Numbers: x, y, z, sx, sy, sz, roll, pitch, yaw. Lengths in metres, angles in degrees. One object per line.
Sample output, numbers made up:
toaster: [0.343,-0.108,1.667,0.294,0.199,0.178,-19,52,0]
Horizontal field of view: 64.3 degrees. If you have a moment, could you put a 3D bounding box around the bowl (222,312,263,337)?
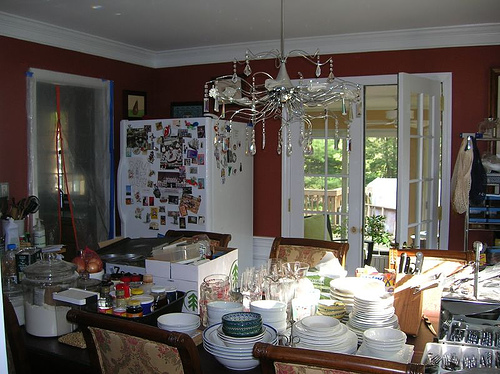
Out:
bowl: [0.010,0.667,1.888,0.246,0.115,0.280,-5,-17,14]

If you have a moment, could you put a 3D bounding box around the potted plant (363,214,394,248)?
potted plant: [2.161,0.782,6.632,0.340,0.609,0.941,-2,1,27]

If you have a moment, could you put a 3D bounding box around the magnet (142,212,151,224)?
magnet: [-1.070,0.332,4.158,0.068,0.141,0.097,-1,-3,35]

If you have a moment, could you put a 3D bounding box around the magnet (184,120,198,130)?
magnet: [-0.567,-0.597,3.903,0.161,0.070,0.050,-5,12,14]

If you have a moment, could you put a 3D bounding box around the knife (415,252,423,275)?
knife: [1.029,0.463,2.411,0.041,0.127,0.092,-1,1,33]

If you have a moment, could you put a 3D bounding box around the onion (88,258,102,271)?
onion: [-0.931,0.466,2.386,0.060,0.063,0.061,-1,-3,26]

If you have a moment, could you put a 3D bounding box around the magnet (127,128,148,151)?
magnet: [-1.179,-0.487,4.149,0.225,0.229,0.055,5,5,21]

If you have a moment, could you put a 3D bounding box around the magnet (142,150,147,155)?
magnet: [-1.095,-0.356,4.124,0.038,0.077,0.037,0,-2,-1]

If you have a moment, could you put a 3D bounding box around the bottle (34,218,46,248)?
bottle: [-2.011,0.434,3.780,0.093,0.282,0.236,-3,1,-29]

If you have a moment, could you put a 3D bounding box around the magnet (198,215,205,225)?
magnet: [-0.481,0.328,3.933,0.071,0.075,0.014,-2,1,28]

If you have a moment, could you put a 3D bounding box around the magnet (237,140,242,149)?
magnet: [-0.118,-0.457,4.306,0.049,0.100,0.070,-1,-1,18]

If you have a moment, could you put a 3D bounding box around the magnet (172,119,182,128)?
magnet: [-0.741,-0.620,3.927,0.083,0.085,0.021,1,3,26]

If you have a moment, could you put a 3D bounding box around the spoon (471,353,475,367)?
spoon: [0.954,0.736,1.692,0.011,0.052,0.013,4,-24,24]

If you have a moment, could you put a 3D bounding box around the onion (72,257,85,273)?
onion: [-1.006,0.457,2.345,0.068,0.088,0.072,-30,-32,18]

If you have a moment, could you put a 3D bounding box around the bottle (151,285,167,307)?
bottle: [-0.478,0.583,2.092,0.080,0.092,0.076,5,-8,-36]

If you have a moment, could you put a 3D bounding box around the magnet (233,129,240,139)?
magnet: [-0.146,-0.565,4.237,0.014,0.080,0.107,-6,-4,25]

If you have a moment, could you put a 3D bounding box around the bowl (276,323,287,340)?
bowl: [0.157,0.715,1.964,0.050,0.053,0.052,0,-6,0]

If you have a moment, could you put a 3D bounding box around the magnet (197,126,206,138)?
magnet: [-0.476,-0.535,3.868,0.088,0.096,0.021,2,3,34]

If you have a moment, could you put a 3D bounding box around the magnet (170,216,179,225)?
magnet: [-0.768,0.345,4.044,0.078,0.083,0.044,2,6,13]

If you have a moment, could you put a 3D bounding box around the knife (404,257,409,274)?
knife: [0.961,0.478,2.434,0.016,0.079,0.077,-5,-30,15]

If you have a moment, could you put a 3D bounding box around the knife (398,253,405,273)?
knife: [0.937,0.469,2.441,0.035,0.103,0.082,-1,1,29]

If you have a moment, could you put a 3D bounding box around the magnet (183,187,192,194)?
magnet: [-0.625,0.037,3.966,0.090,0.067,0.051,4,6,17]

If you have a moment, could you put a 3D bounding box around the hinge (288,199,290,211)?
hinge: [0.445,0.208,4.523,0.020,0.128,0.006,-2,1,-9]

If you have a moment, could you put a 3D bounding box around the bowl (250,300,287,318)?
bowl: [0.090,0.621,2.018,0.177,0.052,0.140,-3,1,-9]

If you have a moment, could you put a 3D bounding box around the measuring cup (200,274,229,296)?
measuring cup: [-0.181,0.521,2.152,0.104,0.114,0.107,1,-3,0]

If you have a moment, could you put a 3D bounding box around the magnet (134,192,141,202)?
magnet: [-1.191,0.102,4.196,0.052,0.073,0.021,7,8,24]

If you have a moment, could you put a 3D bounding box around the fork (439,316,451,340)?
fork: [0.948,0.680,1.911,0.024,0.094,0.034,26,-21,10]

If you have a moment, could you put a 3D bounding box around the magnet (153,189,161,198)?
magnet: [-0.959,0.076,4.094,0.071,0.076,0.018,-21,-5,19]

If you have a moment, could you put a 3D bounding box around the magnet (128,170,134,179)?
magnet: [-1.266,-0.131,4.213,0.066,0.066,0.017,18,7,19]

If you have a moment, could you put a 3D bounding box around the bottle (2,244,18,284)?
bottle: [-1.456,0.455,2.405,0.076,0.237,0.330,-3,1,-32]

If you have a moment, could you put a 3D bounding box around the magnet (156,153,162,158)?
magnet: [-0.934,-0.322,4.055,0.041,0.043,0.010,-2,2,22]

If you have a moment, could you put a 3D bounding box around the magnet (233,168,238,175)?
magnet: [-0.156,-0.163,4.271,0.051,0.102,0.054,-2,9,-5]

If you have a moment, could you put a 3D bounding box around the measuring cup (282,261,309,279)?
measuring cup: [0.265,0.478,2.289,0.088,0.068,0.092,2,2,0]

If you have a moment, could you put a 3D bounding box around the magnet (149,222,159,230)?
magnet: [-1.000,0.408,4.139,0.085,0.066,0.012,1,-2,24]

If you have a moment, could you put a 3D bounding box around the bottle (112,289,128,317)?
bottle: [-0.661,0.579,1.997,0.099,0.119,0.086,-2,1,2]

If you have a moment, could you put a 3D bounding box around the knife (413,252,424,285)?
knife: [1.009,0.471,2.377,0.049,0.141,0.340,-2,1,25]

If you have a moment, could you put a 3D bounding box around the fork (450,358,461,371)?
fork: [0.866,0.742,1.676,0.086,0.019,0.030,-3,2,-39]

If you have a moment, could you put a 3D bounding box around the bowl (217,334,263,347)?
bowl: [-0.039,0.671,1.736,0.097,0.027,0.101,1,-3,0]

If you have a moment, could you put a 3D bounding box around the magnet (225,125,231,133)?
magnet: [-0.126,-0.331,2.277,0.013,0.026,0.037,-2,10,-33]

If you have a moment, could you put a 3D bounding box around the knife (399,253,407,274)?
knife: [0.948,0.470,2.450,0.038,0.107,0.134,-2,1,27]

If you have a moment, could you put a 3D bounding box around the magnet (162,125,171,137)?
magnet: [-0.840,-0.565,4.011,0.076,0.104,0.025,25,14,32]

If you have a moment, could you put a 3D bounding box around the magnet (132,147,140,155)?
magnet: [-1.190,-0.373,4.163,0.067,0.069,0.016,34,6,25]

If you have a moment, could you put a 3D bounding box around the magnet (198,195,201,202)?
magnet: [-0.500,0.112,3.880,0.035,0.068,0.047,5,-6,-34]

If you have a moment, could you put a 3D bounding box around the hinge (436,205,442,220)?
hinge: [1.914,0.264,4.024,0.114,0.144,0.038,-3,2,-42]

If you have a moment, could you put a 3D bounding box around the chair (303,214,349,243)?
chair: [0.850,0.438,4.458,0.347,0.453,0.329,-1,-4,33]

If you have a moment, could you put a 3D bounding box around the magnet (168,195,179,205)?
magnet: [-0.786,0.138,4.034,0.118,0.086,0.024,1,2,33]

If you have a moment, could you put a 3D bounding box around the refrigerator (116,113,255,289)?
refrigerator: [-0.708,0.269,4.483,1.201,2.054,1.167,-1,2,4]

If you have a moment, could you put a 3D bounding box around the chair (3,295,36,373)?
chair: [-1.139,0.748,1.961,0.123,0.394,0.175,-3,1,-27]

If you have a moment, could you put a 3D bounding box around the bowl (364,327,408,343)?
bowl: [0.609,0.673,1.798,0.188,0.026,0.139,-2,1,-1]

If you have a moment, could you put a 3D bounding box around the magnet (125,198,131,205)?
magnet: [-1.309,0.160,4.244,0.058,0.061,0.016,4,3,15]

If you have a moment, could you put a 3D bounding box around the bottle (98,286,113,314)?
bottle: [-0.753,0.577,2.060,0.073,0.127,0.167,-3,1,-22]

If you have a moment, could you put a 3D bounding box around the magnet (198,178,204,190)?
magnet: [-0.483,-0.029,3.910,0.061,0.084,0.015,-2,1,8]

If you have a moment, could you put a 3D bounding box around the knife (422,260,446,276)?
knife: [1.224,0.540,2.631,0.264,0.029,0.028,-30,32,-34]

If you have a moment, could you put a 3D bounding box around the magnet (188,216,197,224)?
magnet: [-0.575,0.330,3.963,0.103,0.074,0.057,-2,-7,43]
